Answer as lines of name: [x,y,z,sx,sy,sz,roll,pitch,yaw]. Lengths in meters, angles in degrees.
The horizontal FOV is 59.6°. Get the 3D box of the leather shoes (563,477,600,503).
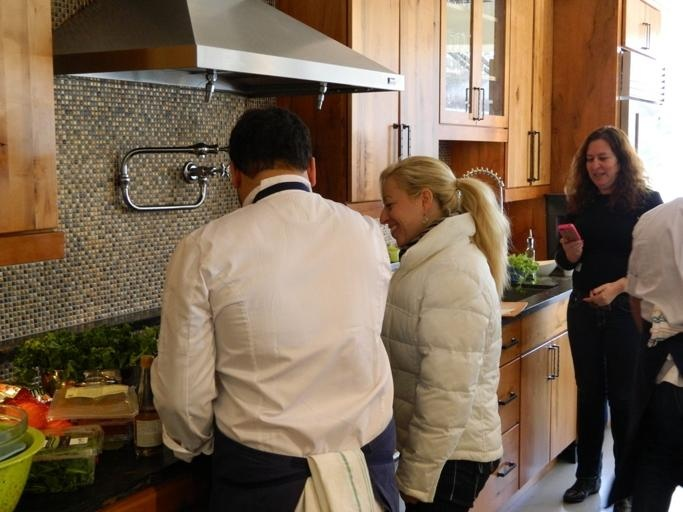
leather shoes: [1.309,1.283,3.272,0.243,0.112,0.092,1,2,-35]

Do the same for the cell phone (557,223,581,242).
cell phone: [1.172,-0.111,3.065,0.090,0.092,0.118,0,3,32]
